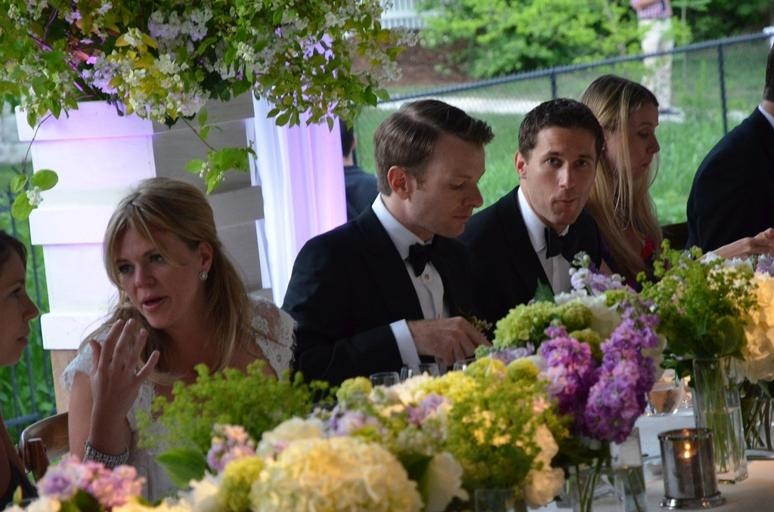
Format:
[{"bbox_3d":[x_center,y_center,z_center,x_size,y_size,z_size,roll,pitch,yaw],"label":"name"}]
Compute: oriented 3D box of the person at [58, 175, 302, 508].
[{"bbox_3d":[-0.822,0.480,3.400,0.931,1.421,0.813,-2,-10,-21],"label":"person"}]
